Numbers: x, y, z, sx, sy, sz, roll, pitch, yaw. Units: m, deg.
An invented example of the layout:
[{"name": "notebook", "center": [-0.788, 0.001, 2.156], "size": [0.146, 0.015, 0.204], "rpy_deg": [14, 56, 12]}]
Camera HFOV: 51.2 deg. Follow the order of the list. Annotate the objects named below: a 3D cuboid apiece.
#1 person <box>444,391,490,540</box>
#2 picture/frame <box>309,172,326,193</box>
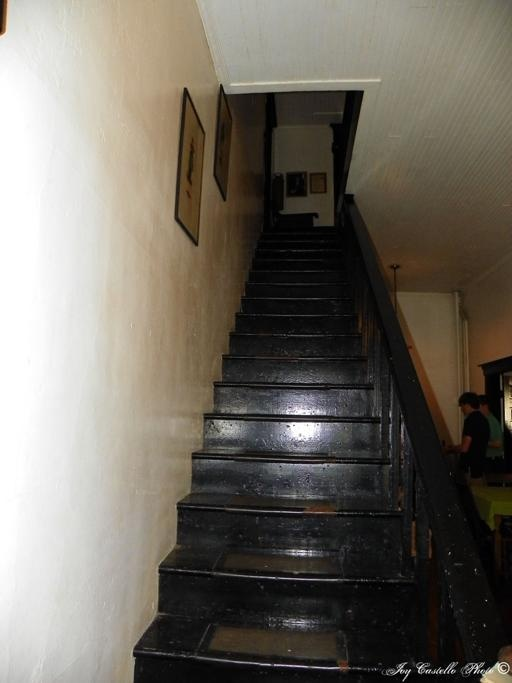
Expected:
[{"name": "person", "center": [1.739, 0.897, 4.363], "size": [0.275, 0.823, 0.628], "rpy_deg": [3, 38, 27]}, {"name": "picture/frame", "center": [0.866, -2.226, 7.539], "size": [0.207, 0.319, 0.062], "rpy_deg": [1, -4, 6]}]
